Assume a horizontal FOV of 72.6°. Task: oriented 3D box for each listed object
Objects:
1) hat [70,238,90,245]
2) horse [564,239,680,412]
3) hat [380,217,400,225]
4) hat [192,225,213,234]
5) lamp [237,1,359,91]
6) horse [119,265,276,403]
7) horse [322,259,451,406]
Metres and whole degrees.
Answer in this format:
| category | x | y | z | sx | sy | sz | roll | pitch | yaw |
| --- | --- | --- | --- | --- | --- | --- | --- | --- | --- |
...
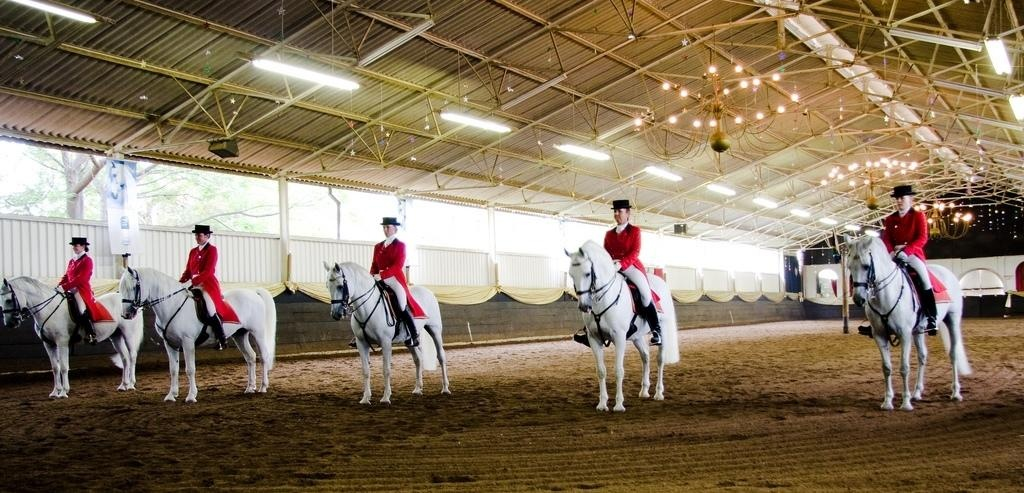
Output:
| category | x | y | z | sx | sy | sz | roll | pitch | yaw |
| --- | --- | --- | --- | --- | --- | --- | --- | --- | --- |
| hat | -14.358 | -0.220 | 23.042 | 0.495 | 0.146 | 0.476 | 1 | -2 | -20 |
| horse | 3.337 | 2.322 | 21.185 | 1.287 | 5.015 | 3.868 | -7 | -8 | 42 |
| hat | -3.868 | -0.827 | 21.946 | 0.464 | 0.263 | 0.341 | 0 | -6 | -14 |
| hat | -9.960 | -0.596 | 22.472 | 0.435 | 0.150 | 0.408 | 1 | -1 | 3 |
| lamp | -7.536 | -6.786 | 25.277 | 5.933 | 0.426 | 1.054 | 12 | 4 | -38 |
| horse | -10.180 | 2.823 | 22.958 | 1.834 | 4.036 | 5.802 | -10 | -10 | 29 |
| horse | -3.984 | 2.765 | 22.865 | 1.949 | 4.477 | 6.082 | -8 | -10 | 24 |
